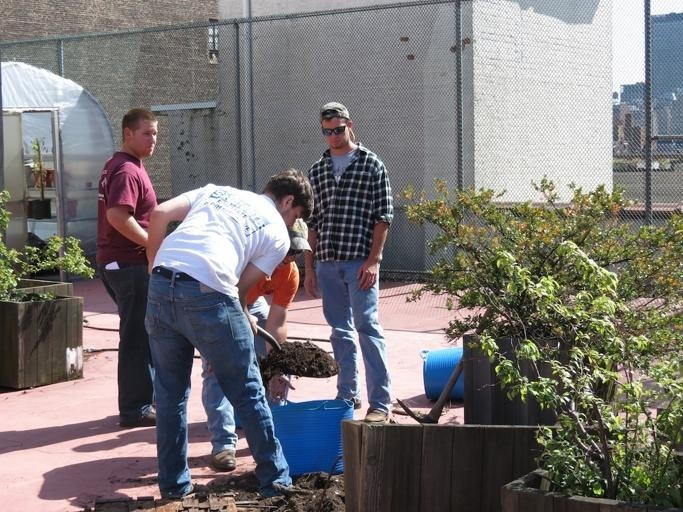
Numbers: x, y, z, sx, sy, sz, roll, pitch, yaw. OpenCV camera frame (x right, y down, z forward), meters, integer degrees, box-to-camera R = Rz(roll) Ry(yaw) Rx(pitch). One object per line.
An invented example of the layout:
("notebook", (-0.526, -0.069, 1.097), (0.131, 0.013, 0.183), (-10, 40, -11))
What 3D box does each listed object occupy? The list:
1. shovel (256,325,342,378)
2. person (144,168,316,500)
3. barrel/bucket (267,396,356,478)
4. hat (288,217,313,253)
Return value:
("shovel", (-0.316, 0.811, 8.216), (0.473, 0.194, 0.467), (14, -1, 15))
("person", (-0.820, 0.560, 7.461), (1.112, 1.847, 0.455), (-1, 1, -14))
("barrel/bucket", (-0.217, 1.335, 7.776), (0.538, 0.523, 0.502), (-4, -2, 0))
("hat", (-0.333, -0.164, 8.294), (0.150, 0.127, 0.235), (4, 27, -40))
